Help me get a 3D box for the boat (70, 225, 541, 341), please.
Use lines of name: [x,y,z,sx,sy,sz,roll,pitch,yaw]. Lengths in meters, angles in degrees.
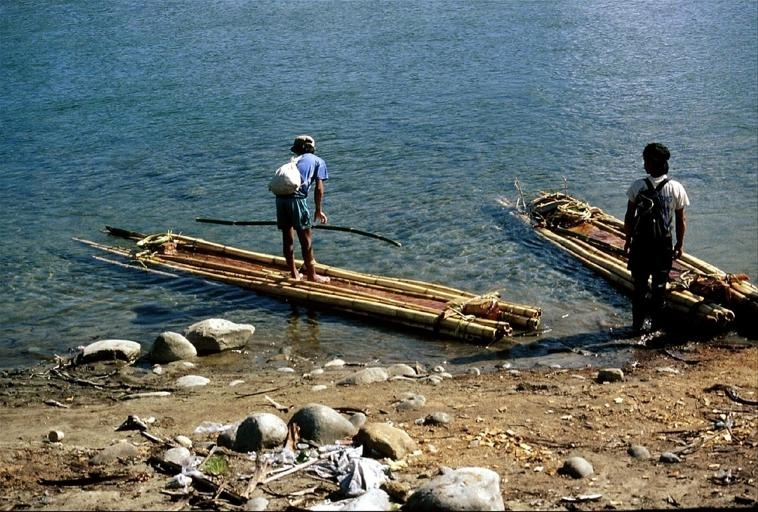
boat: [-1.878,0.841,27.770,12.912,0.955,1.575,8,30,20]
